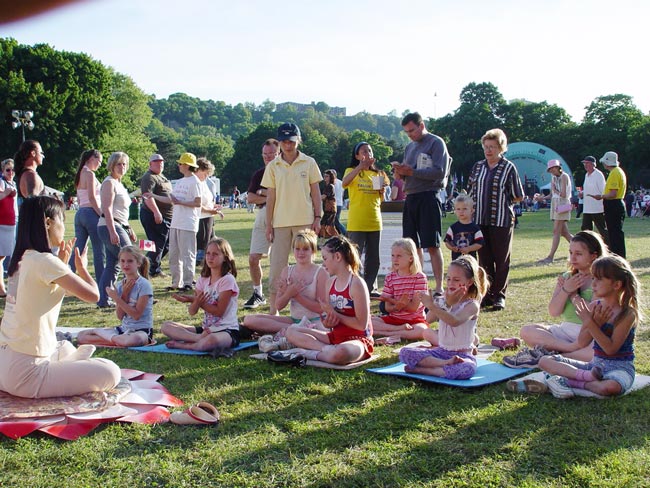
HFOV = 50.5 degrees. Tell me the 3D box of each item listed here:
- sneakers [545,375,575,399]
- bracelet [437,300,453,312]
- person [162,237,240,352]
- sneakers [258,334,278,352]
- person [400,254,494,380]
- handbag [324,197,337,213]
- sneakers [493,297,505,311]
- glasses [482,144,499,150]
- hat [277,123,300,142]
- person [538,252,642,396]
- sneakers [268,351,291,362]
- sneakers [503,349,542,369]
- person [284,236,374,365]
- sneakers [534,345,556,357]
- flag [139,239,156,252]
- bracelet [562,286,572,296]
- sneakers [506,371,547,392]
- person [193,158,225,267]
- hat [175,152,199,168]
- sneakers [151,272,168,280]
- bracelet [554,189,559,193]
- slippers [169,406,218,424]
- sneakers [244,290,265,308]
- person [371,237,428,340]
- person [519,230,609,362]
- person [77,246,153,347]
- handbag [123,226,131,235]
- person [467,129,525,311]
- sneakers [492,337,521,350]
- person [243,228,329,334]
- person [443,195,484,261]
[{"bbox_3d":[1.993,1.214,5.830,0.104,0.160,0.212,1,-1,-44],"label":"sneakers"},{"bbox_3d":[1.194,0.623,6.924,0.061,0.116,0.083,1,11,-20],"label":"bracelet"},{"bbox_3d":[-1.285,0.545,7.733,0.866,1.223,0.634,-1,-1,31],"label":"person"},{"bbox_3d":[-0.594,1.058,7.327,0.187,0.094,0.250,0,1,-5],"label":"sneakers"},{"bbox_3d":[1.223,0.679,6.749,0.726,1.141,1.019,-1,-1,45],"label":"person"},{"bbox_3d":[0.122,-0.834,14.790,0.287,0.538,0.255,-3,11,-2],"label":"handbag"},{"bbox_3d":[2.368,0.807,9.340,0.174,0.163,0.319,0,-1,15],"label":"sneakers"},{"bbox_3d":[2.309,-1.347,9.549,0.114,0.049,0.131,2,-2,28],"label":"glasses"},{"bbox_3d":[-0.447,-1.417,8.670,0.272,0.274,0.390,0,-1,-2],"label":"hat"},{"bbox_3d":[2.323,0.699,5.933,0.937,1.182,0.750,-1,2,-21],"label":"person"},{"bbox_3d":[-0.458,1.122,6.924,0.181,0.064,0.109,-1,-7,28],"label":"sneakers"},{"bbox_3d":[1.920,1.108,6.725,0.408,0.197,0.158,0,14,0],"label":"sneakers"},{"bbox_3d":[0.080,0.553,7.099,0.792,1.281,0.653,0,-1,12],"label":"person"},{"bbox_3d":[2.122,1.046,6.728,0.239,0.117,0.089,2,9,-8],"label":"sneakers"},{"bbox_3d":[-2.874,0.022,11.231,0.039,0.192,0.270,-42,-13,15],"label":"flag"},{"bbox_3d":[2.392,0.462,6.797,0.068,0.018,0.074,34,-3,31],"label":"bracelet"},{"bbox_3d":[1.788,1.206,5.966,0.384,0.142,0.183,-3,32,28],"label":"sneakers"},{"bbox_3d":[-2.088,-0.508,12.912,0.665,2.185,0.683,7,23,14],"label":"person"},{"bbox_3d":[-2.250,-1.464,11.508,0.297,0.152,0.306,14,-7,13],"label":"hat"},{"bbox_3d":[-3.048,0.579,12.695,0.319,0.144,0.111,-7,2,2],"label":"sneakers"},{"bbox_3d":[5.115,-1.173,15.194,0.073,0.072,0.018,-7,-9,13],"label":"bracelet"},{"bbox_3d":[-1.025,1.358,5.428,0.317,0.119,0.160,5,-7,-1],"label":"slippers"},{"bbox_3d":[-0.989,0.806,9.764,0.120,0.175,0.369,-1,-3,13],"label":"sneakers"},{"bbox_3d":[0.845,0.536,8.035,0.749,1.156,0.743,-3,10,-9],"label":"person"},{"bbox_3d":[2.458,0.516,6.774,0.775,1.290,0.857,-4,10,-16],"label":"person"},{"bbox_3d":[-2.305,0.592,7.895,0.762,1.170,0.841,-1,-1,45],"label":"person"},{"bbox_3d":[-2.932,-0.216,10.257,0.068,0.094,0.048,28,55,35],"label":"handbag"},{"bbox_3d":[2.373,-0.380,9.699,0.795,2.487,0.791,3,6,22],"label":"person"},{"bbox_3d":[1.963,1.070,7.486,0.310,0.128,0.128,-3,6,7],"label":"sneakers"},{"bbox_3d":[-0.479,0.475,8.437,1.223,1.308,0.741,1,1,25],"label":"person"},{"bbox_3d":[1.965,-0.066,9.716,0.537,1.290,0.454,0,2,21],"label":"person"}]
